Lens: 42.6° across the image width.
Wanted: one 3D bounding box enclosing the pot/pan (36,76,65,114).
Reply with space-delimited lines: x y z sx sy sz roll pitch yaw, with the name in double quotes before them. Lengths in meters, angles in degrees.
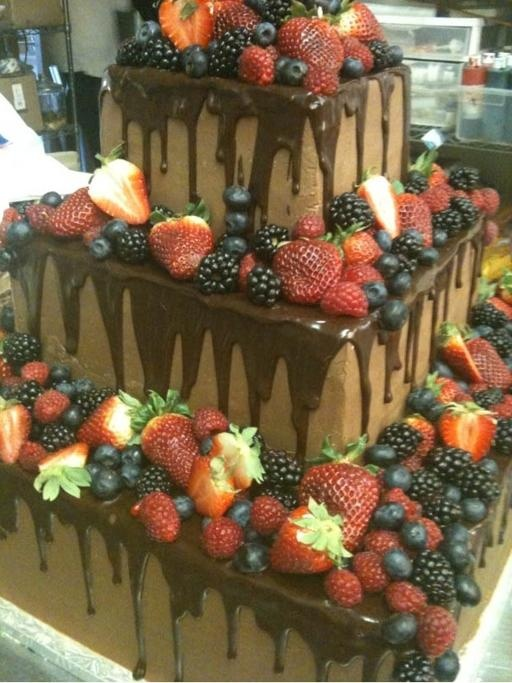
"pot/pan" -1.569 -1.902 5.061 0.276 0.278 0.260 -4 21 -13
